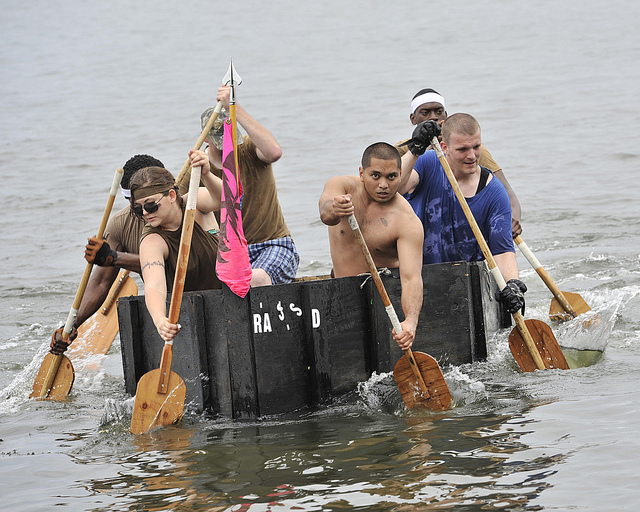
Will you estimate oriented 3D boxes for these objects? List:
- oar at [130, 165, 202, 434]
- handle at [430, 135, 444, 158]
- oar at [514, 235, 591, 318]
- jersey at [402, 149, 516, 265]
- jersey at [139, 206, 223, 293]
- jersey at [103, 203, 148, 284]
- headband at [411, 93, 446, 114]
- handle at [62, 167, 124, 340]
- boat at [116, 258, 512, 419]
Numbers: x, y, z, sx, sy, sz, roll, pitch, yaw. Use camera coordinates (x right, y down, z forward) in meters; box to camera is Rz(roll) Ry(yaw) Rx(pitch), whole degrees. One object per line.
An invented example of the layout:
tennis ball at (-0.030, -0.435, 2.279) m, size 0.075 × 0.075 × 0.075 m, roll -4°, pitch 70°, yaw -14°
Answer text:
oar at (-1.471, 0.537, 11.171) m, size 0.577 × 3.062 × 0.149 m, roll 13°, pitch 9°, yaw 8°
handle at (1.312, -1.251, 12.274) m, size 0.143 × 0.276 × 0.338 m, roll -4°, pitch 13°, yaw 7°
oar at (2.920, 0.270, 14.153) m, size 0.523 × 2.193 × 0.146 m, roll -29°, pitch 43°, yaw 15°
jersey at (1.796, -0.471, 13.069) m, size 1.142 × 1.453 × 1.062 m, roll 17°, pitch 23°, yaw 39°
jersey at (-1.464, -0.016, 11.800) m, size 0.776 × 0.989 × 0.631 m, roll -2°, pitch 14°, yaw -1°
jersey at (-2.397, -0.310, 13.240) m, size 0.497 × 1.156 × 0.514 m, roll 7°, pitch 20°, yaw 35°
headband at (1.392, -1.994, 14.064) m, size 0.417 × 0.252 × 0.338 m, roll -4°, pitch 13°, yaw 4°
handle at (-2.453, -0.458, 12.491) m, size 0.070 × 1.211 × 0.067 m, roll 4°, pitch 37°, yaw -30°
boat at (0.145, 0.995, 12.720) m, size 4.725 × 1.475 × 2.506 m, roll -6°, pitch -1°, yaw -12°
